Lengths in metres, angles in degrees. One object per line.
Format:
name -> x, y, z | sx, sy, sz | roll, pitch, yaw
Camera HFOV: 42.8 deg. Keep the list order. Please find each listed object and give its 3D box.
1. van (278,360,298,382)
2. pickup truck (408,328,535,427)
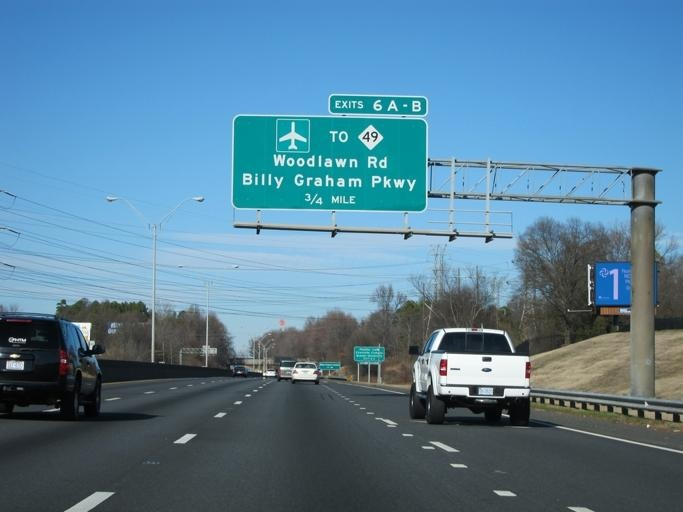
van -> -4.832, 9.623, 75.892 | 1.754, 2.212, 3.815 | 1, -12, -5
pickup truck -> 3.450, 3.532, 25.017 | 3.086, 2.722, 7.146 | -2, -11, 4
